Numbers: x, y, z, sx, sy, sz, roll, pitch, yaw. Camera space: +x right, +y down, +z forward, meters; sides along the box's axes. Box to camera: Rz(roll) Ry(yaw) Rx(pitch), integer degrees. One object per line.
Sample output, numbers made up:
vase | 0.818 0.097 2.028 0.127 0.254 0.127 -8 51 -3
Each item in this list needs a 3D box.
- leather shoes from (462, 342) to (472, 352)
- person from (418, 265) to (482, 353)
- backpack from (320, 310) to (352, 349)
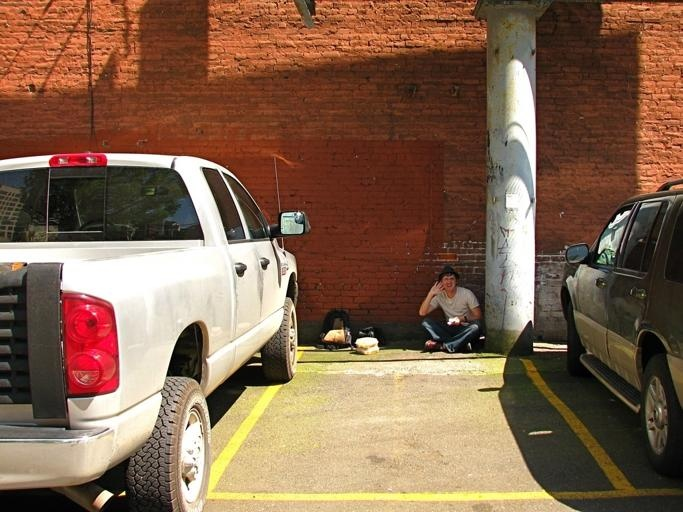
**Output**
leather shoes | 1.801 1.285 9.738 0.108 0.148 0.133 15 12 10
person | 1.553 0.733 10.021 0.829 1.162 1.084 -4 8 -22
backpack | -0.063 1.095 10.394 0.464 0.476 0.616 -1 7 0
